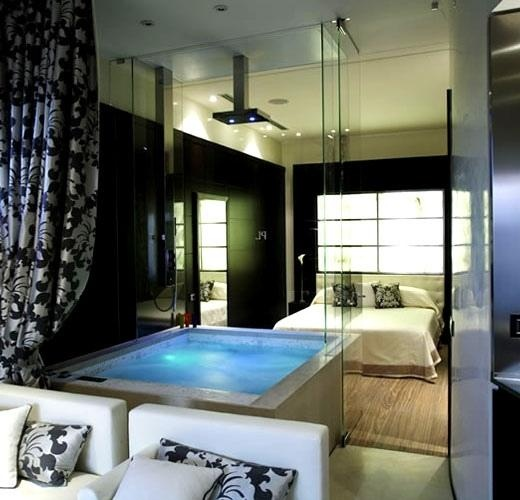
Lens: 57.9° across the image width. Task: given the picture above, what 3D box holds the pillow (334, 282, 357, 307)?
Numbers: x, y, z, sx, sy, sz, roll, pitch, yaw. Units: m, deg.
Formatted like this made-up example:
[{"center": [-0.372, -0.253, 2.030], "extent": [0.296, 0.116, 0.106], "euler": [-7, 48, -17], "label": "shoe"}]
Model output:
[{"center": [0.621, 0.332, 3.419], "extent": [0.047, 0.222, 0.189], "euler": [-1, -1, 34], "label": "pillow"}]

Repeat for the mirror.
[{"center": [-0.571, 0.223, 5.659], "extent": [0.313, 1.837, 0.062], "euler": [1, -10, -10], "label": "mirror"}]

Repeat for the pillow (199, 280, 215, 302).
[{"center": [-0.642, 0.485, 5.569], "extent": [0.082, 0.272, 0.181], "euler": [6, 12, 44], "label": "pillow"}]
